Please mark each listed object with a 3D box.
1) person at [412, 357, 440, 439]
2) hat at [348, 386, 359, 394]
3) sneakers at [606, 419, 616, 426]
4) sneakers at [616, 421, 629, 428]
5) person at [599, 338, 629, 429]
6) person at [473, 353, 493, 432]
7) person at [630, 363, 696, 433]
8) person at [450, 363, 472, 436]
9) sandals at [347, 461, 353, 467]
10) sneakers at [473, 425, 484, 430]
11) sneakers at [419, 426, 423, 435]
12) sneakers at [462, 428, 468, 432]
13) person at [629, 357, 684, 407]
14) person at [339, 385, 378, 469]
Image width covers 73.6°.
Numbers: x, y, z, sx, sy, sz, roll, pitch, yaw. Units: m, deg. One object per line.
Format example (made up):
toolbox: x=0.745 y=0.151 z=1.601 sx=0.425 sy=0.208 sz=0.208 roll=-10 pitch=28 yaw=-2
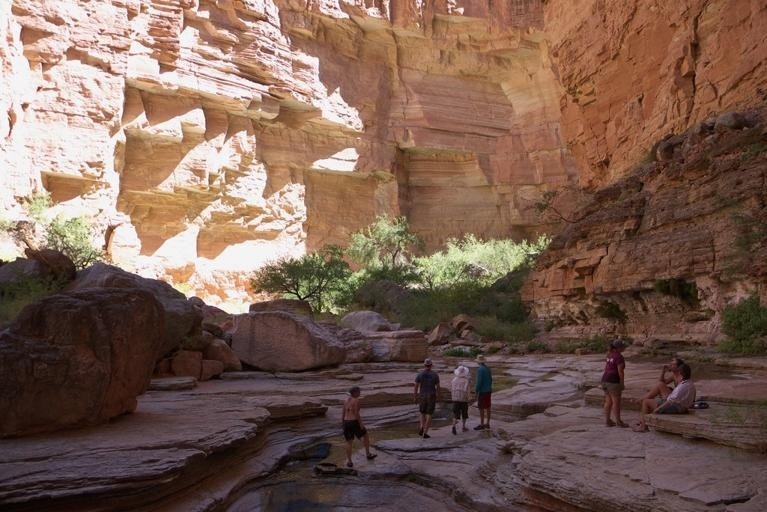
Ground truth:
person: x=0.834 y=2.694 z=9.893 sx=0.457 sy=1.407 sz=1.133 roll=-4 pitch=-9 yaw=4
hat: x=-0.506 y=2.255 z=8.652 sx=0.126 sy=0.140 sz=0.156 roll=3 pitch=16 yaw=20
sneakers: x=3.701 y=2.718 z=8.364 sx=0.184 sy=0.099 sz=0.061 roll=-2 pitch=1 yaw=-28
sneakers: x=3.834 y=2.706 z=8.222 sx=0.217 sy=0.122 sz=0.075 roll=-3 pitch=3 yaw=-30
person: x=3.897 y=2.106 z=8.677 sx=0.455 sy=1.361 sz=0.895 roll=-7 pitch=-9 yaw=20
person: x=1.896 y=2.601 z=9.907 sx=0.381 sy=1.392 sz=1.018 roll=-5 pitch=-9 yaw=9
person: x=4.384 y=2.209 z=7.982 sx=0.866 sy=1.015 sz=0.707 roll=1 pitch=-4 yaw=18
person: x=1.483 y=2.761 z=10.025 sx=0.421 sy=1.217 sz=0.964 roll=-5 pitch=-9 yaw=7
sandals: x=-0.585 y=3.487 z=8.598 sx=0.115 sy=0.096 sz=0.134 roll=-2 pitch=-9 yaw=-7
sneakers: x=1.808 y=3.273 z=9.770 sx=0.200 sy=0.068 sz=0.070 roll=-1 pitch=-8 yaw=19
sneakers: x=0.684 y=3.288 z=9.587 sx=0.082 sy=0.089 sz=0.227 roll=2 pitch=-5 yaw=4
sneakers: x=1.541 y=3.285 z=9.706 sx=0.070 sy=0.057 sz=0.141 roll=-5 pitch=-9 yaw=11
person: x=4.449 y=2.055 z=8.187 sx=0.809 sy=0.830 sz=0.463 roll=9 pitch=-1 yaw=23
person: x=-0.453 y=2.936 z=9.107 sx=0.553 sy=1.325 sz=1.345 roll=-3 pitch=-9 yaw=-5
